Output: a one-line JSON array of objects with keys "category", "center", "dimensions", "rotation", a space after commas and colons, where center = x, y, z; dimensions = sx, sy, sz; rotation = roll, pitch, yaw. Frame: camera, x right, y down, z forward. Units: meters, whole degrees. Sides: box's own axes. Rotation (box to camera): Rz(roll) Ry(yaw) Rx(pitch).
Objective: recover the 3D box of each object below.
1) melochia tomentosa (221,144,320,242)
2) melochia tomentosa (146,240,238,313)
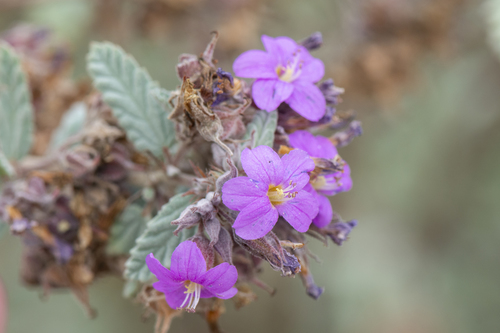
[{"category": "melochia tomentosa", "center": [0.067, 0.086, 1.799], "dimensions": [0.325, 0.152, 0.276], "rotation": [-6, 61, -4]}, {"category": "melochia tomentosa", "center": [-0.202, 0.388, 1.839], "dimensions": [0.281, 0.304, 0.225], "rotation": [15, 65, -14]}]
